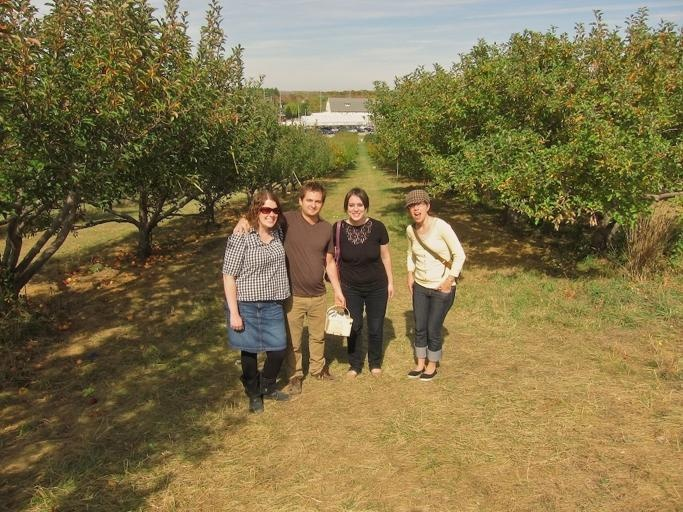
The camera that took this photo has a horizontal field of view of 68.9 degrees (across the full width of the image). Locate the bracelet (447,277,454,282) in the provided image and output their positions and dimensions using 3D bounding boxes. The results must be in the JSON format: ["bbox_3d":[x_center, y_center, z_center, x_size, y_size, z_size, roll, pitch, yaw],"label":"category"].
[{"bbox_3d":[1.535,0.328,6.949,0.063,0.076,0.083,5,1,35],"label":"bracelet"}]

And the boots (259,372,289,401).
[{"bbox_3d":[-0.884,1.903,7.200,0.618,0.423,0.238,1,35,-8],"label":"boots"}]

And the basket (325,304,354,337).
[{"bbox_3d":[-0.070,1.013,7.374,0.465,0.442,0.449,9,7,-7],"label":"basket"}]

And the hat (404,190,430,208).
[{"bbox_3d":[1.108,-0.825,7.238,0.294,0.339,0.679,2,17,6],"label":"hat"}]

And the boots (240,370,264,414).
[{"bbox_3d":[-1.222,1.960,7.060,0.250,0.466,0.489,-9,12,-5],"label":"boots"}]

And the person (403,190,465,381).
[{"bbox_3d":[1.320,0.320,7.173,0.828,2.485,0.505,4,17,15],"label":"person"}]

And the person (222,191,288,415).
[{"bbox_3d":[-1.099,0.687,6.700,0.884,3.082,0.603,-5,17,-16],"label":"person"}]
